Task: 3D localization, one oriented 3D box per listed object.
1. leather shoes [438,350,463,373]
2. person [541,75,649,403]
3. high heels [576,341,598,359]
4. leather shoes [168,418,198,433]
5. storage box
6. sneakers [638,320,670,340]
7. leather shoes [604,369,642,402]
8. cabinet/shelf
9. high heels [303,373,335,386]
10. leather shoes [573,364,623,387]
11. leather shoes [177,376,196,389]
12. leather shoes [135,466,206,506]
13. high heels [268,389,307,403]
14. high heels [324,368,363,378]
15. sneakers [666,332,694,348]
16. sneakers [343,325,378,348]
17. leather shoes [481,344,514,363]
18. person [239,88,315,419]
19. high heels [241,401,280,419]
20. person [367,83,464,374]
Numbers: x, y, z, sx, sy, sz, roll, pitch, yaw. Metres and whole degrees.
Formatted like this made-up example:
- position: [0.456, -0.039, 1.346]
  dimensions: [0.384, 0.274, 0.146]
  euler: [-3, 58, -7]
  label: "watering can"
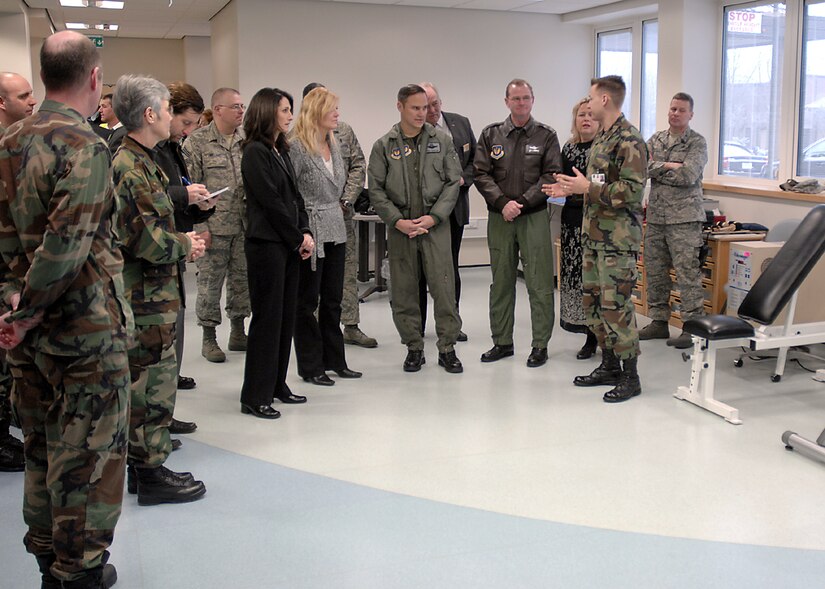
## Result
- position: [0.304, 0.526, 4.688]
  dimensions: [0.090, 0.111, 0.264]
  euler: [-3, 6, -21]
  label: "leather shoes"
- position: [1.349, -0.388, 4.155]
  dimensions: [0.484, 2.154, 0.637]
  euler: [-13, 18, -42]
  label: "person"
- position: [1.464, 0.476, 4.985]
  dimensions: [0.081, 0.090, 0.223]
  euler: [-2, -1, 41]
  label: "high heels"
- position: [-1.409, 0.805, 3.723]
  dimensions: [0.210, 0.085, 0.073]
  euler: [-2, 8, -23]
  label: "leather shoes"
- position: [2.984, -0.089, 4.883]
  dimensions: [0.733, 0.626, 0.391]
  euler: [7, 15, 27]
  label: "storage box"
- position: [2.232, 0.334, 5.590]
  dimensions: [0.320, 0.213, 0.140]
  euler: [1, 0, -1]
  label: "sneakers"
- position: [1.461, 0.631, 4.236]
  dimensions: [0.349, 0.234, 0.132]
  euler: [-7, 5, -28]
  label: "leather shoes"
- position: [2.620, -0.231, 5.798]
  dimensions: [0.771, 0.688, 0.460]
  euler: [6, 15, 39]
  label: "cabinet/shelf"
- position: [-0.688, 0.612, 4.463]
  dimensions: [0.262, 0.097, 0.095]
  euler: [-1, 4, 17]
  label: "high heels"
- position: [1.385, 0.598, 4.459]
  dimensions: [0.381, 0.152, 0.137]
  euler: [0, 1, -2]
  label: "leather shoes"
- position: [-1.668, 0.636, 4.464]
  dimensions: [0.087, 0.085, 0.204]
  euler: [3, 11, 4]
  label: "leather shoes"
- position: [-1.222, 0.911, 3.031]
  dimensions: [0.314, 0.188, 0.168]
  euler: [-5, 9, -20]
  label: "leather shoes"
- position: [-0.842, 0.675, 4.108]
  dimensions: [0.284, 0.114, 0.093]
  euler: [-1, 3, -8]
  label: "high heels"
- position: [-0.547, 0.600, 4.646]
  dimensions: [0.311, 0.120, 0.103]
  euler: [-1, 2, 4]
  label: "high heels"
- position: [2.365, 0.395, 5.264]
  dimensions: [0.190, 0.107, 0.225]
  euler: [-6, 15, -24]
  label: "sneakers"
- position: [-0.484, 0.360, 5.406]
  dimensions: [0.381, 0.258, 0.139]
  euler: [4, 10, 7]
  label: "sneakers"
- position: [0.710, 0.488, 5.016]
  dimensions: [0.329, 0.132, 0.108]
  euler: [-2, 3, -25]
  label: "leather shoes"
- position: [-0.881, -0.245, 3.812]
  dimensions: [0.437, 2.041, 0.454]
  euler: [0, 14, 2]
  label: "person"
- position: [-0.988, 0.739, 3.900]
  dimensions: [0.288, 0.112, 0.105]
  euler: [1, 6, 4]
  label: "high heels"
- position: [0.031, -0.481, 4.592]
  dimensions: [0.722, 2.150, 0.441]
  euler: [-1, 14, -1]
  label: "person"
